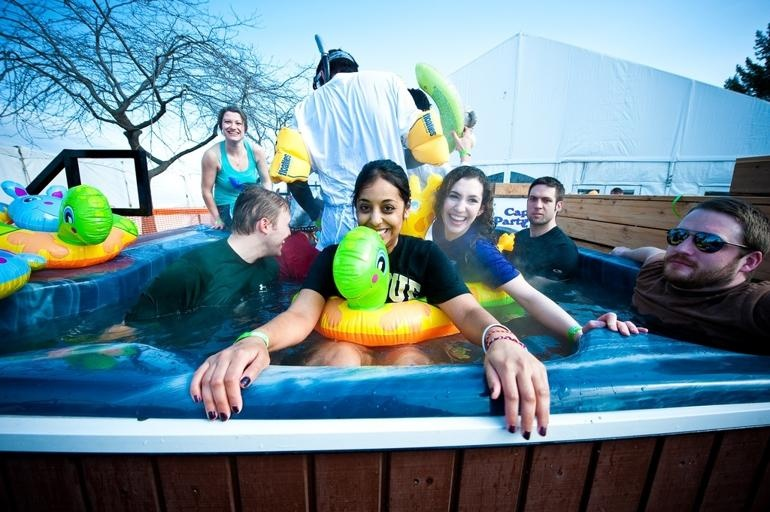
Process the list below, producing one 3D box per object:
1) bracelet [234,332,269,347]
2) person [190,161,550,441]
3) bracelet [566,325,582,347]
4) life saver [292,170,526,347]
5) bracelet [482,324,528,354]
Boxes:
[{"bbox_3d":[-0.667,0.421,2.293,0.151,0.083,0.108,-4,13,-14],"label":"bracelet"},{"bbox_3d":[0.057,0.122,2.771,1.369,0.803,1.663,1,6,5],"label":"person"},{"bbox_3d":[1.084,0.469,2.584,0.083,0.087,0.101,-3,-2,-8],"label":"bracelet"},{"bbox_3d":[0.286,0.118,2.947,1.133,0.400,1.326,16,29,35],"label":"life saver"},{"bbox_3d":[0.605,0.389,2.292,0.174,0.076,0.160,13,28,25],"label":"bracelet"}]
